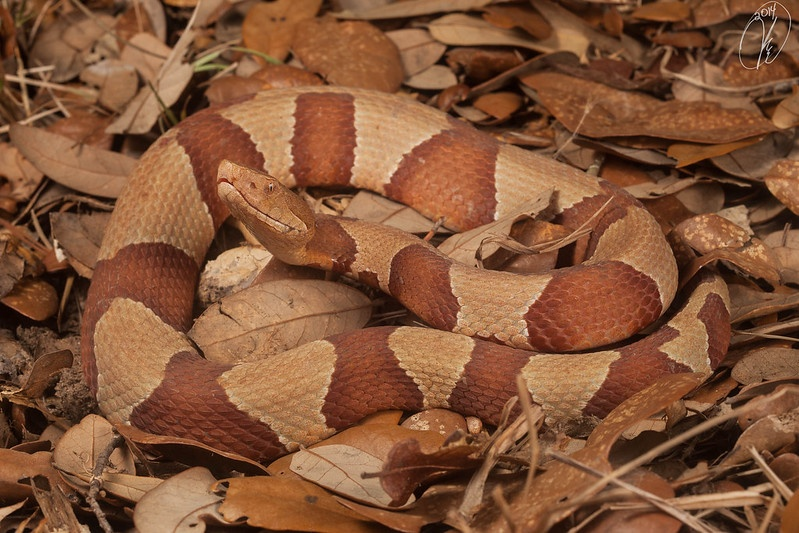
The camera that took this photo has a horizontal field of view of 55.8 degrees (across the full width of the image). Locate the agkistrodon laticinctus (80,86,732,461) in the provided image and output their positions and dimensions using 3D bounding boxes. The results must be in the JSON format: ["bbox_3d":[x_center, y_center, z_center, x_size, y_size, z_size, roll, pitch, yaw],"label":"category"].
[{"bbox_3d":[-0.076,0.084,4.799,3.683,0.592,2.411,7,70,3],"label":"agkistrodon laticinctus"}]
